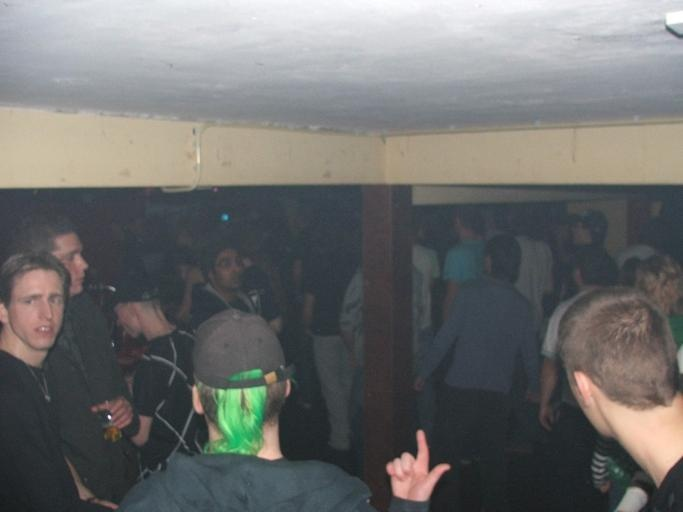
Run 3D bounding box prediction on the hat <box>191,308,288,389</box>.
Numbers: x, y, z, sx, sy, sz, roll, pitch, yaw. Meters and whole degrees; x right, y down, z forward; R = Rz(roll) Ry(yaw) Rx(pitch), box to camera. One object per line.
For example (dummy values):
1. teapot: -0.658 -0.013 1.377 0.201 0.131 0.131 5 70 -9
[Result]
1. hat: -0.256 0.221 1.815 0.214 0.112 0.270 -11 28 -10
